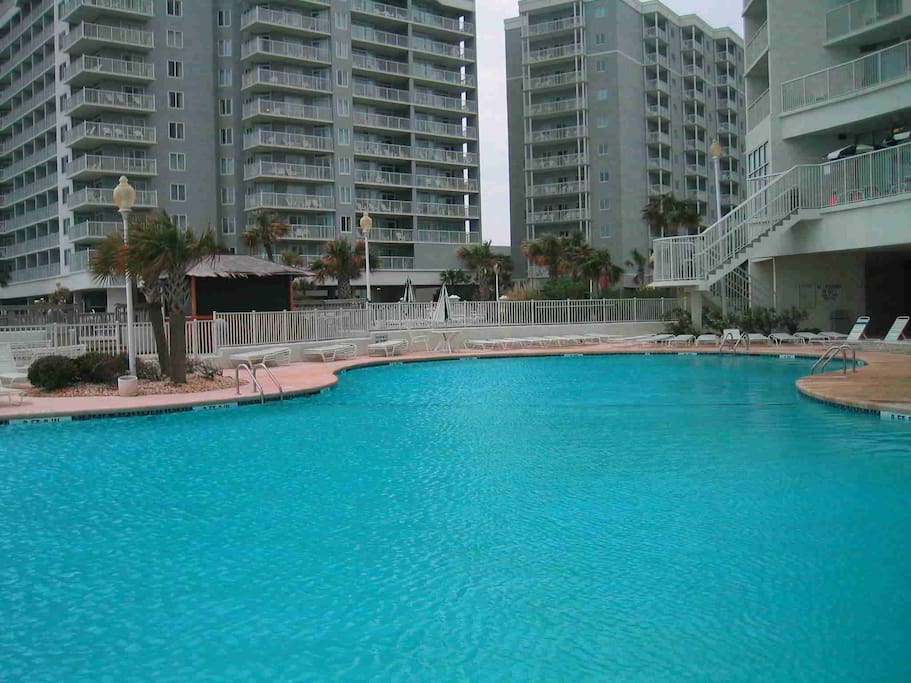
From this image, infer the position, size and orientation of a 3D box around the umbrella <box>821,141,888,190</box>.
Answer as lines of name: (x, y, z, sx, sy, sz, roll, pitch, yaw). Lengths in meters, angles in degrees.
umbrella: (14.163, -6.592, 27.899, 1.562, 1.254, 2.988, 1, 7, 19)
